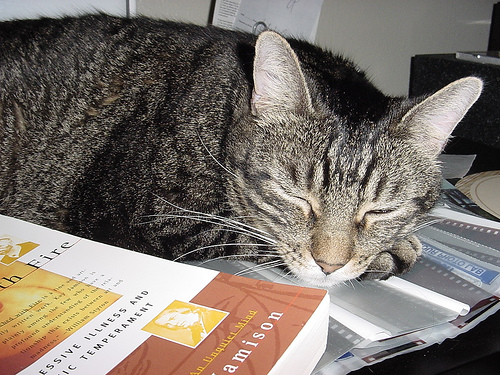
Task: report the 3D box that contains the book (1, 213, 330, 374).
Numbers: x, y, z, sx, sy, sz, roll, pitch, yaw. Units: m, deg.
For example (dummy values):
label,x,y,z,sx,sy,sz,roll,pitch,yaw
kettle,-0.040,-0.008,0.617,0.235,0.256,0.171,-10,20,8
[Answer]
label,x,y,z,sx,sy,sz,roll,pitch,yaw
book,-0.103,0.064,0.371,0.245,0.037,0.159,10,24,22
